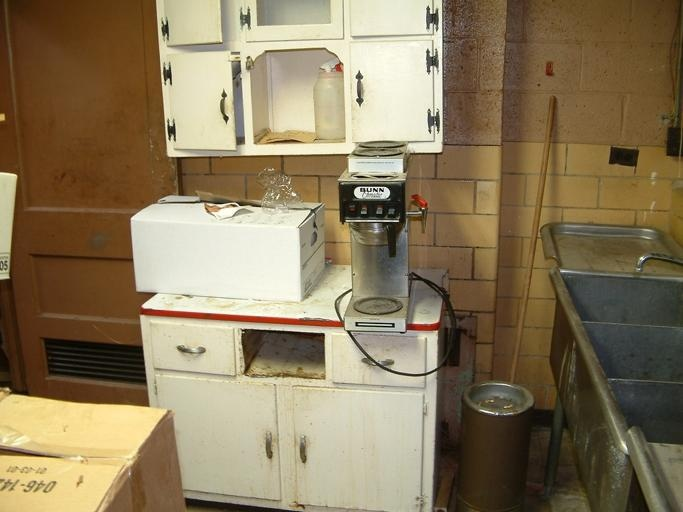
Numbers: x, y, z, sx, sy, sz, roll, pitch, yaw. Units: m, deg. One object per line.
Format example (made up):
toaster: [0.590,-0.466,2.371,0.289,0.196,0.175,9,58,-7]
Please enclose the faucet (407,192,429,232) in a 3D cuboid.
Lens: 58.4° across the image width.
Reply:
faucet: [0.297,-0.174,2.389,0.108,0.113,0.094,9,4,15]
